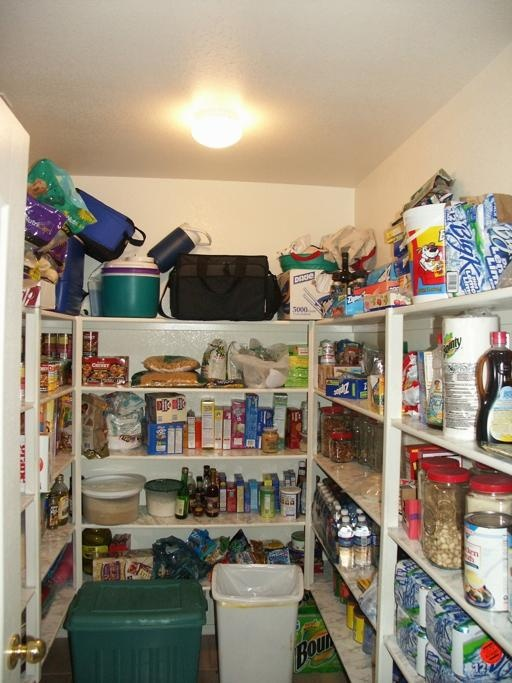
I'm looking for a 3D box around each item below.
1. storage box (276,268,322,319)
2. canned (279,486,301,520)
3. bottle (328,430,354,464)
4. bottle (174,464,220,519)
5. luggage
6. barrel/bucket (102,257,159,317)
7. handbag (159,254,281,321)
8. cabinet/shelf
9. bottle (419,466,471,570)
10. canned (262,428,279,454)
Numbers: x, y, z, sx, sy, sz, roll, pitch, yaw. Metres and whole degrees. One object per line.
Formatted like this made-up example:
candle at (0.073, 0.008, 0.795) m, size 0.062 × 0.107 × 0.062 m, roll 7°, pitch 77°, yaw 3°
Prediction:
storage box at (0.219, -0.229, 2.718) m, size 0.241 × 0.229 × 0.177 m, roll -5°, pitch 3°, yaw -32°
canned at (0.167, 0.796, 2.716) m, size 0.126 × 0.129 × 0.124 m, roll 1°, pitch 2°, yaw 7°
bottle at (0.378, 0.480, 2.514) m, size 0.124 × 0.126 × 0.121 m, roll 0°, pitch 2°, yaw -12°
bottle at (-0.302, 0.768, 2.784) m, size 0.254 × 0.328 × 0.103 m, roll 1°, pitch -4°, yaw -8°
luggage at (-0.678, -0.547, 2.653) m, size 0.114 × 0.265 × 0.359 m, roll -48°, pitch -9°, yaw 10°
barrel/bucket at (-0.614, -0.264, 2.755) m, size 0.314 × 0.290 × 0.314 m, roll 1°, pitch 6°, yaw 0°
handbag at (-0.135, -0.253, 2.723) m, size 0.621 × 0.317 × 0.245 m, roll 3°, pitch 0°, yaw 19°
cabinet/shelf at (-0.069, 0.537, 2.165) m, size 1.677 × 1.039 × 1.633 m, roll 4°, pitch 4°, yaw -4°
bottle at (0.476, 0.431, 1.309) m, size 0.131 × 0.211 × 0.133 m, roll 4°, pitch -9°, yaw 1°
canned at (0.067, 0.500, 2.749) m, size 0.091 × 0.113 × 0.112 m, roll 2°, pitch -1°, yaw -3°
